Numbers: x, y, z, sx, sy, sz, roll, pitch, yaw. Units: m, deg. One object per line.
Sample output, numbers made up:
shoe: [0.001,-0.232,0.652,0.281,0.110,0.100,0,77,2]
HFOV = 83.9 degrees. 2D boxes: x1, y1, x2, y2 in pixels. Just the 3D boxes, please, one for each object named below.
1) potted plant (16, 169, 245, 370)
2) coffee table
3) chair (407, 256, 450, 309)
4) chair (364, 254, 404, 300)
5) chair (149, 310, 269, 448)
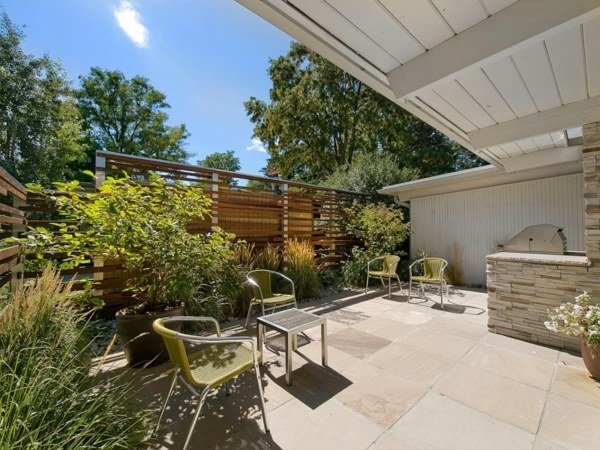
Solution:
potted plant: [-1.532,0.422,4.484,2.003,2.721,2.617,-6,-10,5]
coffee table: [-0.184,1.291,3.795,0.689,0.641,0.730,-1,1,44]
chair: [2.378,1.063,6.232,0.716,0.786,0.729,-2,2,20]
chair: [1.722,1.024,6.802,0.626,0.748,0.621,0,1,44]
chair: [-0.922,1.198,3.358,1.195,1.270,1.071,1,-3,-32]
